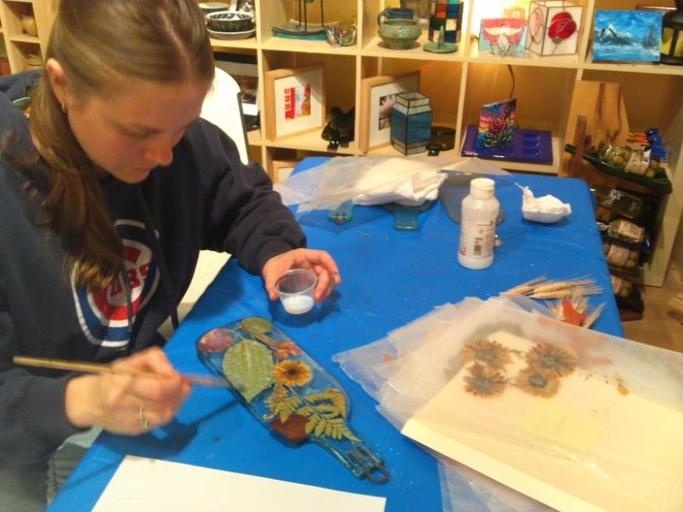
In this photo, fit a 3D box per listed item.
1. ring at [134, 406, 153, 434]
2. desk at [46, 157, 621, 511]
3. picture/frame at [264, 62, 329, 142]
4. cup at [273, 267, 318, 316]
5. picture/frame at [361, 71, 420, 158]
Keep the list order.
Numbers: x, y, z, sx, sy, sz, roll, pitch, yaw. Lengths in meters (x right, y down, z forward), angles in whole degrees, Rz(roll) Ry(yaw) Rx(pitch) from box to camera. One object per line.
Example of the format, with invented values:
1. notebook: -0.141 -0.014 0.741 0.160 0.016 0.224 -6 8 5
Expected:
1. ring: -0.363 0.298 0.971 0.023 0.051 0.017 -14 32 -21
2. desk: 0.052 0.067 1.108 0.557 0.502 1.017 6 41 6
3. picture/frame: -0.254 -0.826 2.871 0.398 0.341 0.053 -25 39 -38
4. cup: -0.102 0.090 1.274 0.103 0.065 0.099 -1 40 1
5. picture/frame: 0.246 -0.704 2.678 0.513 0.442 0.085 -29 41 -34
